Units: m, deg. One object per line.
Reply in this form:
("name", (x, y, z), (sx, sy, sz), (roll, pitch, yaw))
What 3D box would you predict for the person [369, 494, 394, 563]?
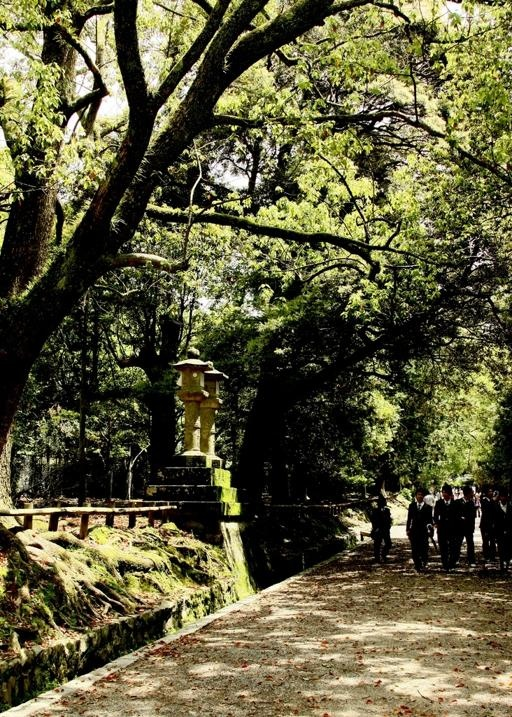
("person", (2.822, 3.855, 19.707), (0.460, 1.411, 1.195), (2, -7, 7))
